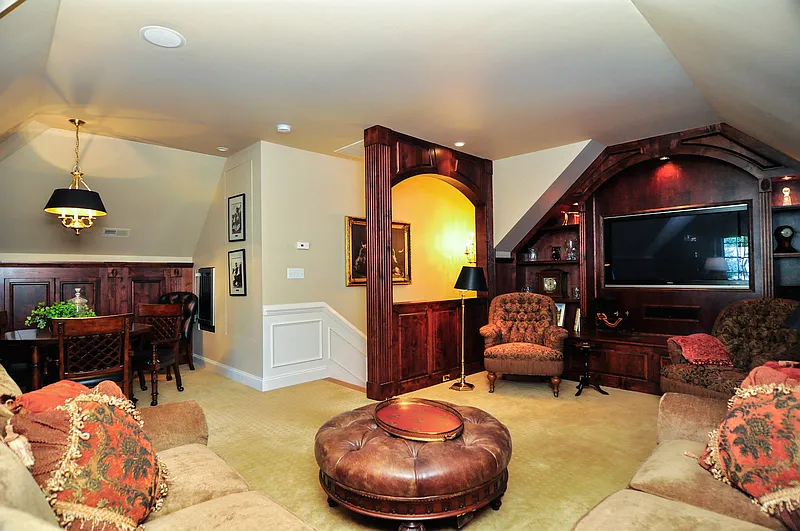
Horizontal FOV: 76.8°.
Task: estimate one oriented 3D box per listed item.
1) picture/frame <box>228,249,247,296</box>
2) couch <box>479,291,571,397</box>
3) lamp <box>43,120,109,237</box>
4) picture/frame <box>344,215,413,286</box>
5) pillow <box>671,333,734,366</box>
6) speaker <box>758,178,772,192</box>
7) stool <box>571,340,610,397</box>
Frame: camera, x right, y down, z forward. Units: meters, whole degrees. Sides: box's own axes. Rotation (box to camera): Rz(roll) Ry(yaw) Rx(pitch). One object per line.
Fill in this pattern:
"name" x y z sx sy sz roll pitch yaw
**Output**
"picture/frame" -2.174 0.083 6.789 0.081 0.800 0.629 3 -5 -43
"couch" 1.593 0.963 6.622 1.184 1.249 1.202 -2 -18 14
"lamp" -3.876 -1.020 6.068 0.550 1.206 1.241 0 -1 -31
"picture/frame" -0.339 -0.219 6.875 1.157 0.922 0.092 2 -4 -37
"pillow" 3.106 0.852 5.170 0.365 0.102 0.329 3 21 4
"speaker" 4.123 -0.917 5.696 0.037 0.134 0.144 0 9 -45
"stool" 2.294 1.247 6.375 0.577 0.743 0.578 -1 -7 6
